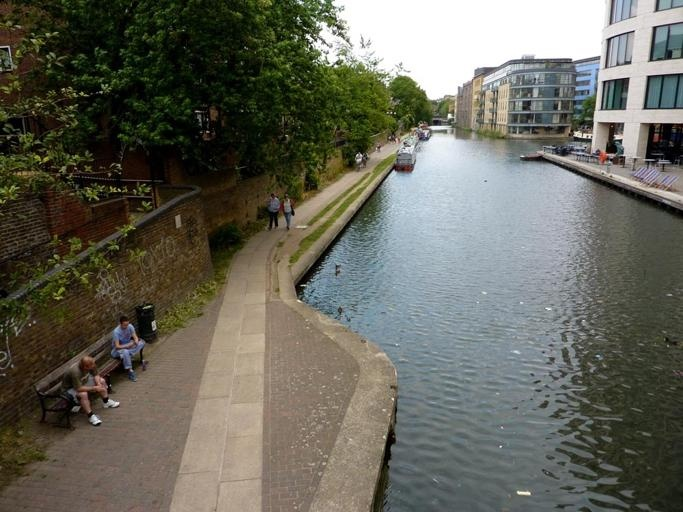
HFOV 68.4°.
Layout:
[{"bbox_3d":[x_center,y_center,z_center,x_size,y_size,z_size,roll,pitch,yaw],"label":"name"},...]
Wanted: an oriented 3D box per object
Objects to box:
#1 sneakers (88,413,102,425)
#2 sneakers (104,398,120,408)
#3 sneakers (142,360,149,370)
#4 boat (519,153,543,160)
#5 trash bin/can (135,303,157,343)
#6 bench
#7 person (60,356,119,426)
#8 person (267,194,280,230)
[{"bbox_3d":[-5.660,3.757,11.581,0.339,0.142,0.158,4,4,40],"label":"sneakers"},{"bbox_3d":[-5.487,3.532,12.119,0.380,0.214,0.167,3,26,-13],"label":"sneakers"},{"bbox_3d":[-5.368,2.979,13.753,0.181,0.171,0.178,6,3,-2],"label":"sneakers"},{"bbox_3d":[25.368,-13.261,67.082,3.351,0.689,1.735,-4,17,-20],"label":"boat"},{"bbox_3d":[-5.789,2.128,15.278,0.636,0.993,0.716,-11,-3,19],"label":"trash bin/can"},{"bbox_3d":[-6.259,2.795,12.412,0.892,0.866,3.066,27,22,8],"label":"bench"},{"bbox_3d":[-5.859,2.981,11.795,1.016,1.506,1.008,5,17,13],"label":"person"},{"bbox_3d":[-3.867,-2.575,28.462,0.617,1.975,1.469,-1,16,-8],"label":"person"}]
